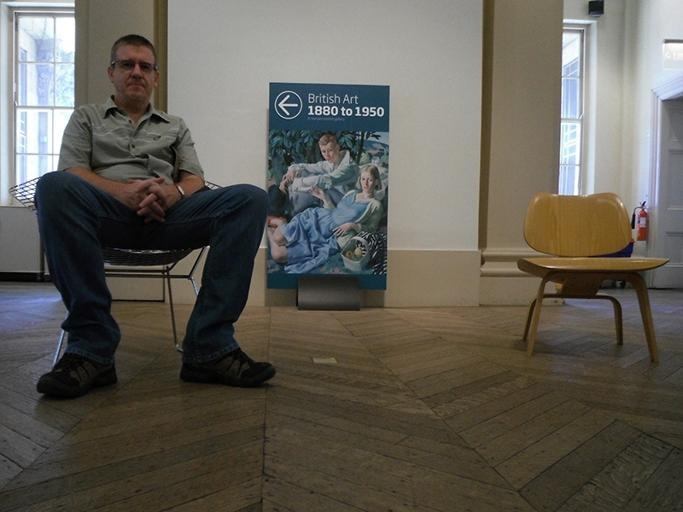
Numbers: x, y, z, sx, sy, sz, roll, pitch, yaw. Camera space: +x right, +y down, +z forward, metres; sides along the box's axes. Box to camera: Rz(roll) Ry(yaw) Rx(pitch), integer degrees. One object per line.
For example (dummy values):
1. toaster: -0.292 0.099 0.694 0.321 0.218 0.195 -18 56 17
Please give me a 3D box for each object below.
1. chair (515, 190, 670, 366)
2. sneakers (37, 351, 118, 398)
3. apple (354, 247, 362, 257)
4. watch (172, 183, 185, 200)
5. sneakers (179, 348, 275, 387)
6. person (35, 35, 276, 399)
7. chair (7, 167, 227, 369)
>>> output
1. chair: 1.219 0.056 2.376 0.659 0.826 0.658 0 -3 34
2. sneakers: -0.892 0.414 1.677 0.104 0.137 0.273 1 -7 36
3. apple: 0.126 -0.030 3.609 0.060 0.061 0.033 8 0 -1
4. watch: -0.643 -0.257 1.911 0.014 0.051 0.052 -13 19 -20
5. sneakers: -0.402 0.406 1.801 0.356 0.155 0.131 0 -4 -1
6. person: -0.705 -0.110 1.903 0.796 1.125 0.623 0 3 -13
7. chair: -0.945 0.079 2.132 0.957 0.909 0.745 1 -14 -7
